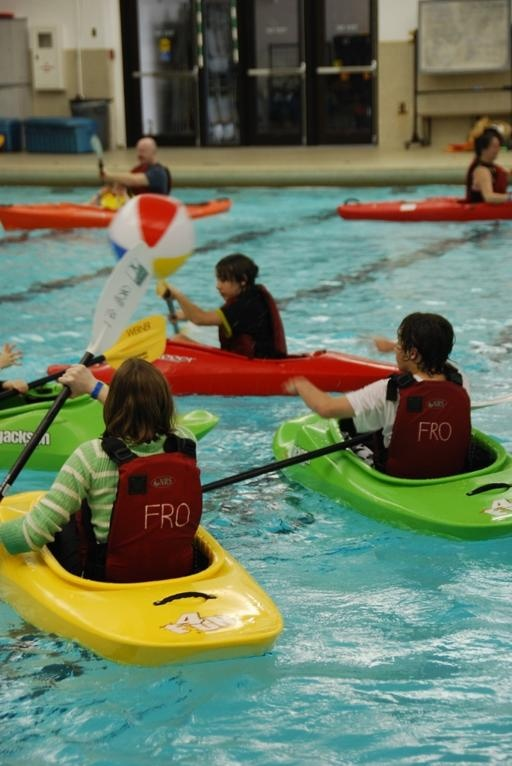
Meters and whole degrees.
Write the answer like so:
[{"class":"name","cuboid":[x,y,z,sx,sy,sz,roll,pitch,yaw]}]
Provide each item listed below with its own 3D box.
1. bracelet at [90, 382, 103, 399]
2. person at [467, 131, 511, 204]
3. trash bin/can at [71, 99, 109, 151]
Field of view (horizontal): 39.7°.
[{"class":"bracelet","cuboid":[-0.486,0.022,2.149,0.039,0.039,0.036,40,-1,-4]},{"class":"person","cuboid":[2.423,-2.271,7.376,0.429,0.768,0.658,2,9,16]},{"class":"trash bin/can","cuboid":[-2.909,-4.540,12.449,0.650,0.814,0.302,-2,10,-10]}]
